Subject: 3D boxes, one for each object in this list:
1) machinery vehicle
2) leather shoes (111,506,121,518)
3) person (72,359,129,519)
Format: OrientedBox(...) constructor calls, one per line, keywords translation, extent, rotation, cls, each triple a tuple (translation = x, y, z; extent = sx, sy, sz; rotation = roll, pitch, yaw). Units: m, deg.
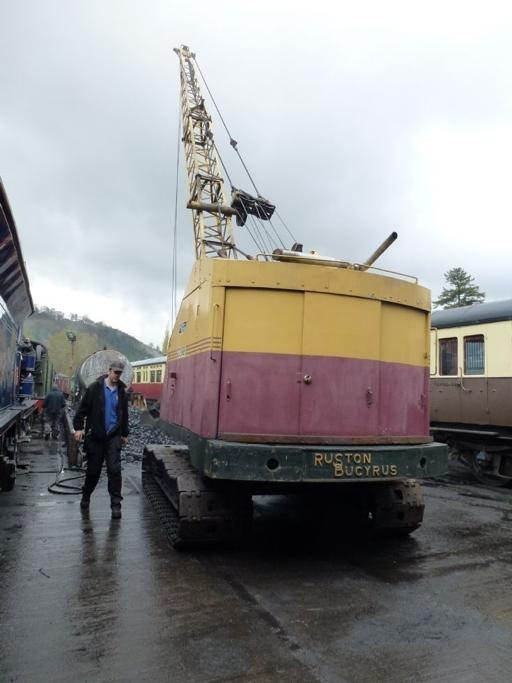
OrientedBox(translation=(1.411, 1.290, 7.672), extent=(2.533, 7.241, 7.284), rotation=(0, -36, 10), cls="machinery vehicle")
OrientedBox(translation=(-1.716, 2.346, 5.325), extent=(0.108, 0.123, 0.231), rotation=(6, -13, -22), cls="leather shoes")
OrientedBox(translation=(-1.947, 1.409, 5.397), extent=(0.645, 1.969, 1.156), rotation=(3, -10, -12), cls="person")
